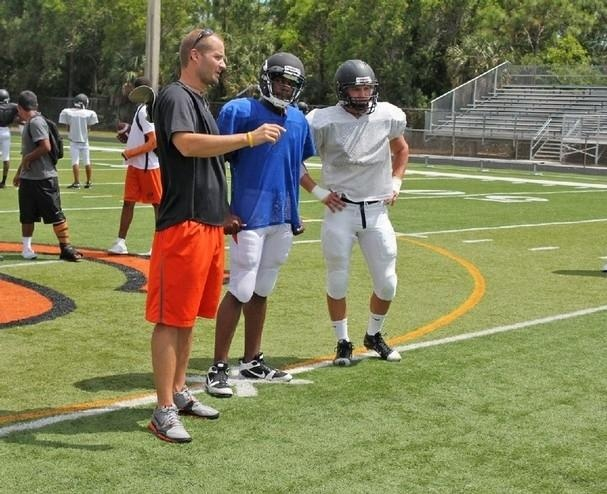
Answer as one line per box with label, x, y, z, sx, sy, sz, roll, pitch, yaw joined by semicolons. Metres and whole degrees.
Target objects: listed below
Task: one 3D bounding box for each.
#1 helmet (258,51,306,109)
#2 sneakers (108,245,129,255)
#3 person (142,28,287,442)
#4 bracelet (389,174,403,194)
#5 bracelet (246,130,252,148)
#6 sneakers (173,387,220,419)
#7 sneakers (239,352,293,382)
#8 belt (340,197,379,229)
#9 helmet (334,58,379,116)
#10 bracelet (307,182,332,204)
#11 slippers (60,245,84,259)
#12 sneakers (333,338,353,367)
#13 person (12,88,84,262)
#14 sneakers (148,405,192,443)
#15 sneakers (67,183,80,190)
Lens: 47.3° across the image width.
helmet;-0.141;-1.081;4.473;0.308;0.336;0.361;0;12;-24
sneakers;-2.348;0.025;8.785;0.201;0.132;0.103;7;7;7
person;-0.599;-0.111;3.959;0.726;2.265;0.745;1;10;0
bracelet;0.725;-0.499;5.344;0.125;0.171;0.070;8;-15;29
bracelet;-0.291;-0.578;3.760;0.026;0.060;0.050;-4;-7;-10
sneakers;-0.660;0.940;4.201;0.334;0.145;0.116;9;4;6
sneakers;-0.274;0.844;4.837;0.455;0.218;0.146;4;6;9
belt;0.396;-0.246;5.036;0.234;0.172;0.025;5;-18;-14
helmet;0.353;-1.199;5.099;0.304;0.324;0.389;-16;36;-19
bracelet;0.119;-0.403;5.052;0.153;0.121;0.117;40;25;-26
slippers;-2.756;0.072;8.227;0.269;0.173;0.131;2;28;-19
sneakers;0.298;0.782;5.123;0.146;0.190;0.432;-1;-7;5
person;-3.116;-0.849;8.281;0.674;1.958;0.925;-7;13;-41
sneakers;-0.735;0.979;3.866;0.300;0.132;0.117;8;3;43
sneakers;-5.387;-1.416;16.116;0.369;0.151;0.134;5;8;14
